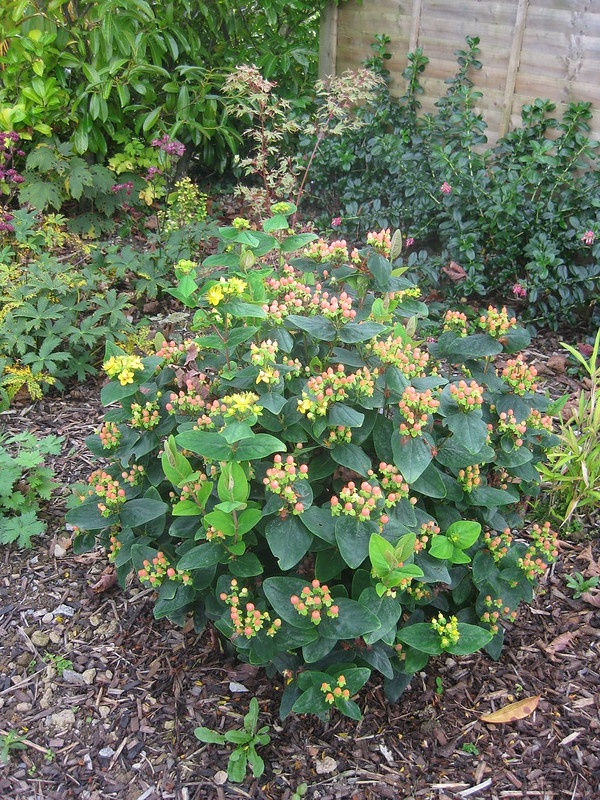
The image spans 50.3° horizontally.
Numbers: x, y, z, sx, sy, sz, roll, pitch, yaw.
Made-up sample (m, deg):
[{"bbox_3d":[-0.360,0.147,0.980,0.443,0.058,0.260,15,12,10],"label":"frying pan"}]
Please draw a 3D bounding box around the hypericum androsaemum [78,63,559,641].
[{"bbox_3d":[0.046,0.027,2.485,1.495,1.769,1.083,2,-21,-5],"label":"hypericum androsaemum"}]
